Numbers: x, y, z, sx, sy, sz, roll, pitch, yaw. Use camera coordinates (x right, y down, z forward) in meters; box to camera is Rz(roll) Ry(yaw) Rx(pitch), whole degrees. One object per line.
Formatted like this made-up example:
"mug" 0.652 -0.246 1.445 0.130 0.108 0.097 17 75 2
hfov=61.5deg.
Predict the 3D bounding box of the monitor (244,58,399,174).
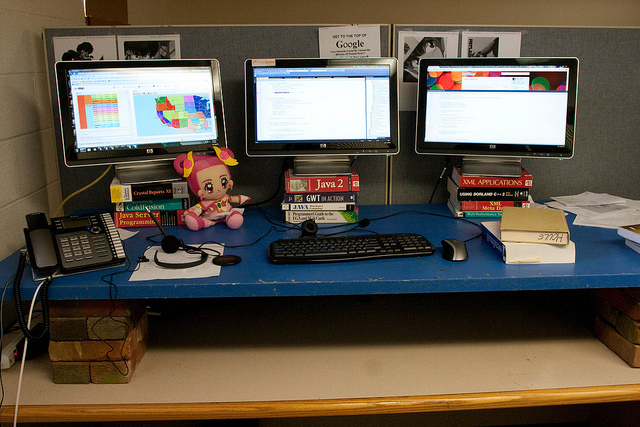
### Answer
"monitor" 0.003 -0.396 2.165 0.650 0.435 0.174 -4 17 -16

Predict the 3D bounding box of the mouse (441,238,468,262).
"mouse" 0.472 0.129 1.896 0.094 0.060 0.071 6 22 17

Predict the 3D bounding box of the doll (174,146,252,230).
"doll" -0.442 -0.099 2.149 0.319 0.320 0.189 -7 14 -32

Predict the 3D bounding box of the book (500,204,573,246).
"book" 0.764 0.025 1.923 0.175 0.038 0.172 -1 23 12

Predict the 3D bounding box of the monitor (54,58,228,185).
"monitor" -0.685 -0.363 2.118 0.650 0.461 0.203 -10 26 -33

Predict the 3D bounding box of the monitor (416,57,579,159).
"monitor" 0.719 -0.431 2.146 0.439 0.287 0.033 1 8 4

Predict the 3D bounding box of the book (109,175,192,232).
"book" -0.676 -0.039 2.128 0.303 0.197 0.137 -2 21 -4

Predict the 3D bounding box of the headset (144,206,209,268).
"headset" -0.538 0.102 1.915 0.231 0.144 0.118 7 16 41

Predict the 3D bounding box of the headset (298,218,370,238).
"headset" 0.033 0.054 2.040 0.160 0.042 0.110 -11 6 13
